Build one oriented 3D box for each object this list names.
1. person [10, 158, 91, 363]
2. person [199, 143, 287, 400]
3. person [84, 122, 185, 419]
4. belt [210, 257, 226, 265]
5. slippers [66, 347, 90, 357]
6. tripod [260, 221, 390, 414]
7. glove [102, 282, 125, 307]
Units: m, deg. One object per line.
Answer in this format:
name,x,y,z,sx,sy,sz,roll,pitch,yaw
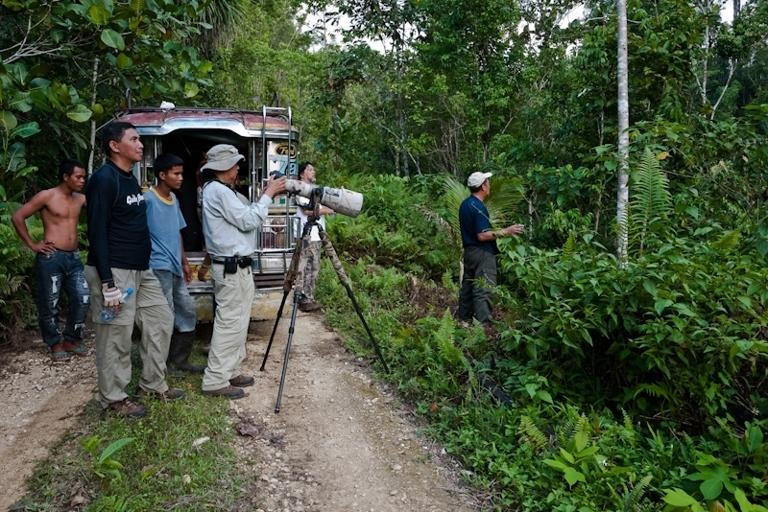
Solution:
person,-4.668,0.064,8.131,0.830,2.827,0.496,-3,13,-29
person,-1.832,0.193,7.185,0.892,3.098,0.818,0,12,-15
person,-3.154,0.173,6.945,1.237,3.104,1.100,0,0,16
belt,-2.021,0.057,6.989,0.260,0.103,0.034,9,13,27
slippers,-4.457,1.399,8.349,0.250,0.103,0.131,1,4,-7
tripod,-0.898,0.647,7.991,1.944,2.800,1.314,1,-10,12
glove,-3.001,0.430,6.376,0.247,0.246,0.206,-2,13,-22
